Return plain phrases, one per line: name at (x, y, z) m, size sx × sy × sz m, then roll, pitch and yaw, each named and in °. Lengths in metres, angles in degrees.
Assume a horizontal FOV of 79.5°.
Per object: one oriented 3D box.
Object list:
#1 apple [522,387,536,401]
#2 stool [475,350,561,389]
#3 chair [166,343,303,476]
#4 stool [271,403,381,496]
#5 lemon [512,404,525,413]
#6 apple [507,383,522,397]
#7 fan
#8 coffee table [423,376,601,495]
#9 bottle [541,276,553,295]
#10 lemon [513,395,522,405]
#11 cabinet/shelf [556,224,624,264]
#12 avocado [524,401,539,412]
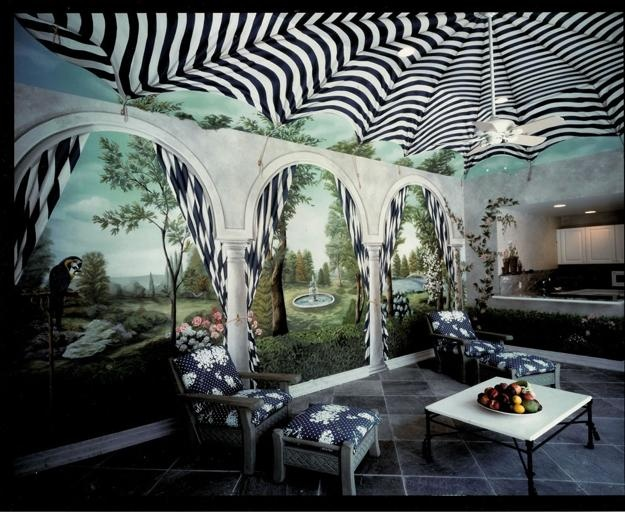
apple at (1.956, 1.245, 3.412) m, size 0.100 × 0.056 × 0.086 m, roll 37°, pitch 19°, yaw 26°
stool at (2.650, 1.393, 4.763) m, size 0.588 × 0.283 × 0.594 m, roll -4°, pitch 0°, yaw 3°
chair at (-0.806, 1.471, 3.914) m, size 1.120 × 0.864 × 1.004 m, roll -1°, pitch -1°, yaw 16°
stool at (0.137, 1.710, 3.466) m, size 0.850 × 0.714 × 0.718 m, roll -3°, pitch 0°, yaw 25°
lemon at (1.828, 1.347, 3.333) m, size 0.069 × 0.067 × 0.088 m, roll 6°, pitch 7°, yaw 17°
apple at (1.864, 1.223, 3.474) m, size 0.090 × 0.066 × 0.117 m, roll 2°, pitch 5°, yaw 17°
fan at (1.855, -1.719, 3.888) m, size 0.907 × 0.949 × 0.988 m, roll -6°, pitch 13°, yaw 16°
coffee table at (1.897, 1.568, 3.778) m, size 1.657 × 1.020 × 1.175 m, roll -3°, pitch 0°, yaw -36°
bottle at (4.864, 0.578, 7.786) m, size 0.181 × 0.375 × 0.914 m, roll -3°, pitch 0°, yaw 33°
lemon at (1.834, 1.283, 3.376) m, size 0.089 × 0.078 × 0.051 m, roll -3°, pitch 0°, yaw -28°
cabinet/shelf at (5.596, -0.249, 7.526) m, size 0.464 × 0.532 × 0.818 m, roll 4°, pitch -5°, yaw -32°
avocado at (1.958, 1.319, 3.356) m, size 0.121 × 0.072 × 0.086 m, roll -2°, pitch -2°, yaw -15°
